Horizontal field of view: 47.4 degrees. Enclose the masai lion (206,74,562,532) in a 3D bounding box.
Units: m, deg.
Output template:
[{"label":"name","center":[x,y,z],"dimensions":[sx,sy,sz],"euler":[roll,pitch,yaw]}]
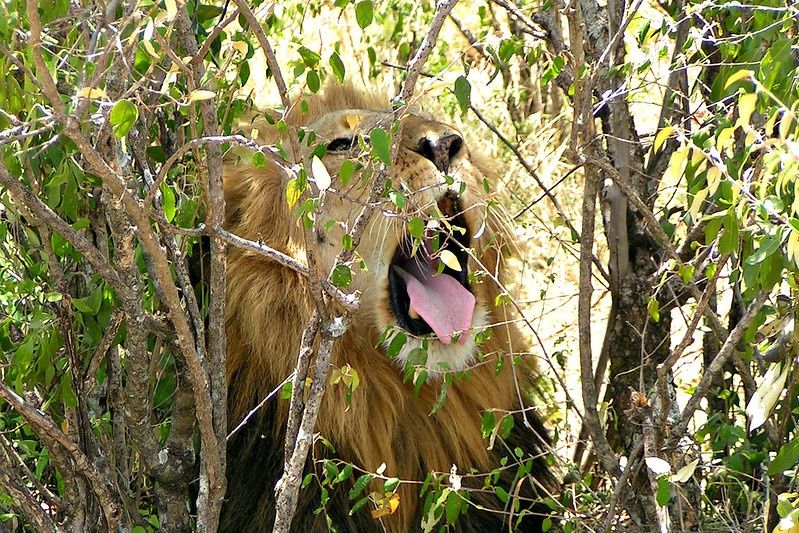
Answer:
[{"label":"masai lion","center":[-0.116,0.309,3.412],"dimensions":[1.095,1.647,0.749],"euler":[0,-37,-7]}]
